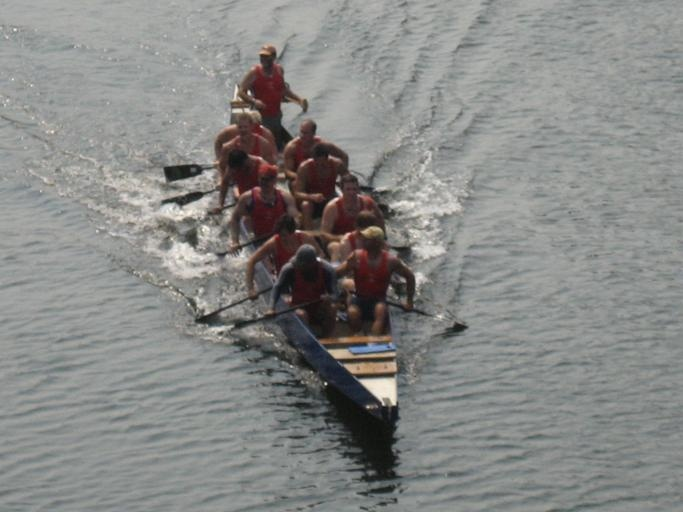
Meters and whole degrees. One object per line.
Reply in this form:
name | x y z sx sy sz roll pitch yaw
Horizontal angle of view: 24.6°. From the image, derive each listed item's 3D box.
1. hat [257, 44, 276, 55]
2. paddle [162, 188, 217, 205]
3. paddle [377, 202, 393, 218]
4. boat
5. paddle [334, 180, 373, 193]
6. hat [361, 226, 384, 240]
hat | -1.682 -4.855 36.990 0.383 0.503 0.225 3 91 14
paddle | -3.484 -1.333 35.921 1.147 0.224 0.050 -16 42 -16
paddle | 1.110 -1.051 35.798 0.199 0.109 0.489 -6 53 -18
boat | -0.658 0.228 32.920 2.305 1.639 9.663 -18 47 -18
paddle | 0.377 -1.597 36.080 0.234 1.177 0.233 18 95 41
hat | 0.685 -0.457 31.321 0.417 0.158 0.257 7 15 2
